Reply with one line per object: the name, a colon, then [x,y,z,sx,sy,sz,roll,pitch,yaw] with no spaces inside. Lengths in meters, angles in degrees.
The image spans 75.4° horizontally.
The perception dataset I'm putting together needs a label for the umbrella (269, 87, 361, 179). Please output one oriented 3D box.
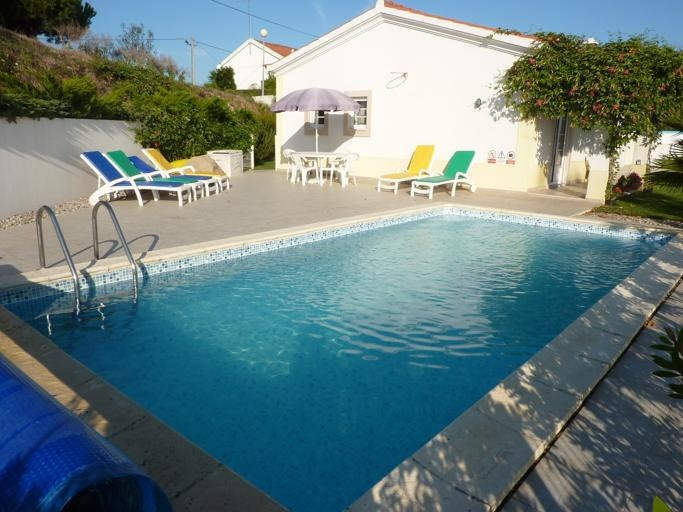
umbrella: [-0.703,-3.980,15.075,2.995,3.259,3.115,-2,17,-2]
